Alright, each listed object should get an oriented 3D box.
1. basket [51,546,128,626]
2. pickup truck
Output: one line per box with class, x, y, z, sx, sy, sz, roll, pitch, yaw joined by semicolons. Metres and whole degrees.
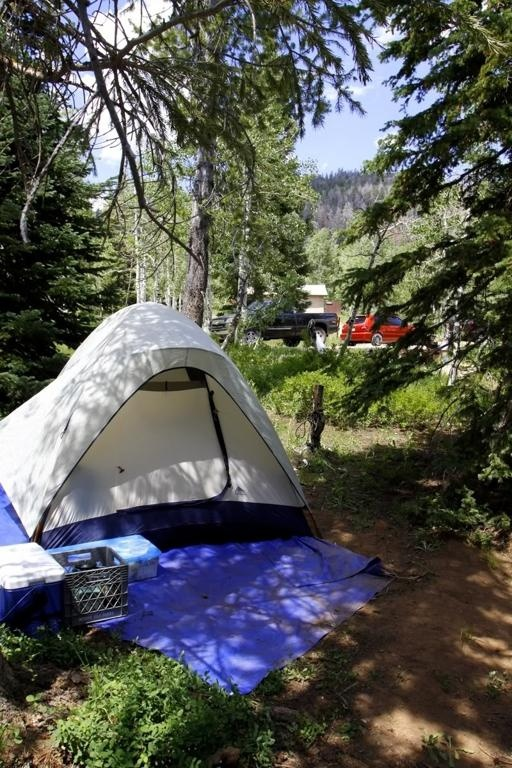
basket;-1.302;1.504;4.011;0.710;0.332;0.701;6;-19;-23
pickup truck;1.111;-2.126;20.032;4.528;1.670;2.029;-1;7;-28
